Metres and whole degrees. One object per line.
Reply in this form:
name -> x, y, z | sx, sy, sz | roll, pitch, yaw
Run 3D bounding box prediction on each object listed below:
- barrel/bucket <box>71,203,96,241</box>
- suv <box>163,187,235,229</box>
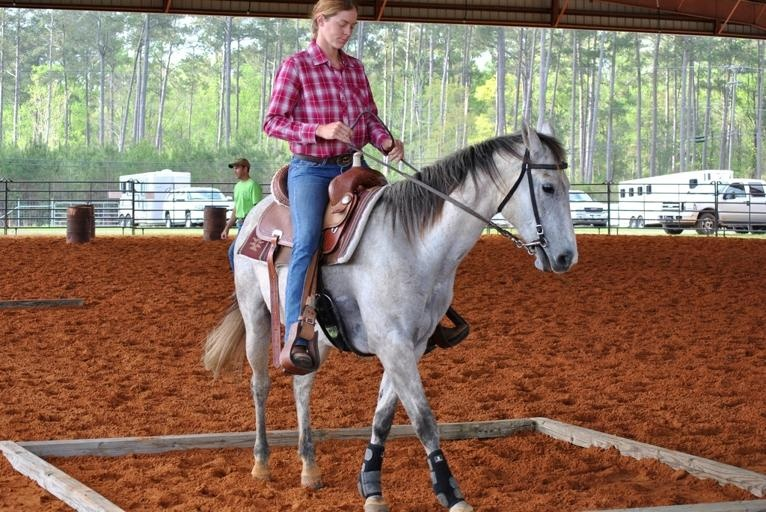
barrel/bucket -> -7.764, -0.810, 19.935 | 0.643, 0.957, 0.639 | 5, 14, -1
suv -> -7.251, -2.165, 29.908 | 1.956, 1.462, 3.528 | -1, -4, -30
